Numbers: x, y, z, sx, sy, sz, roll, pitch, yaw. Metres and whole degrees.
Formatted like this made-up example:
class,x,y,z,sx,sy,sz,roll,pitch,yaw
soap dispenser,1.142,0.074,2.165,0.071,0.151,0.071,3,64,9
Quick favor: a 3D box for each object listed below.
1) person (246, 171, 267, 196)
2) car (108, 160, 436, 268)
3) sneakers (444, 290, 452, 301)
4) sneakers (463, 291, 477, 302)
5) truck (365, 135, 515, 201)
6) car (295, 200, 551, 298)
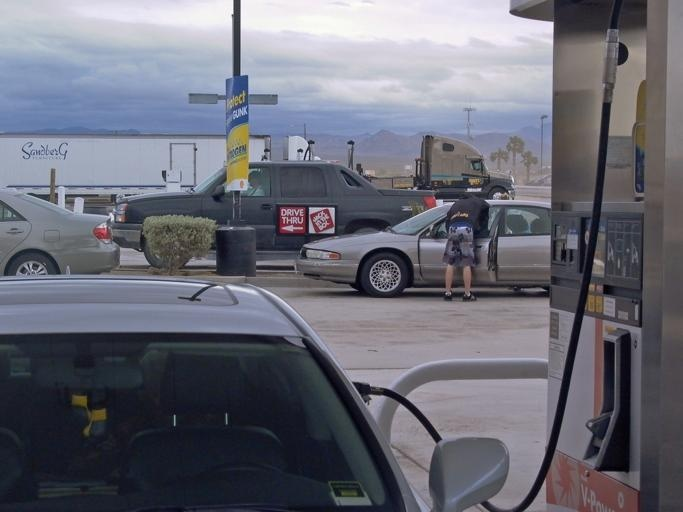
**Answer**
class,x,y,z,sx,sy,sz,roll,pitch,yaw
person,-1.551,-1.336,16.267,0.375,0.499,0.729,6,6,7
car,-1.036,-0.940,16.676,5.260,1.805,2.457,1,0,-8
sneakers,1.562,0.576,12.772,0.081,0.107,0.247,1,7,0
sneakers,1.889,0.608,12.769,0.116,0.137,0.319,4,5,30
truck,3.679,-3.106,31.829,5.324,2.723,1.876,-2,12,-5
car,1.244,-0.034,13.001,3.596,1.118,1.599,2,0,-2
